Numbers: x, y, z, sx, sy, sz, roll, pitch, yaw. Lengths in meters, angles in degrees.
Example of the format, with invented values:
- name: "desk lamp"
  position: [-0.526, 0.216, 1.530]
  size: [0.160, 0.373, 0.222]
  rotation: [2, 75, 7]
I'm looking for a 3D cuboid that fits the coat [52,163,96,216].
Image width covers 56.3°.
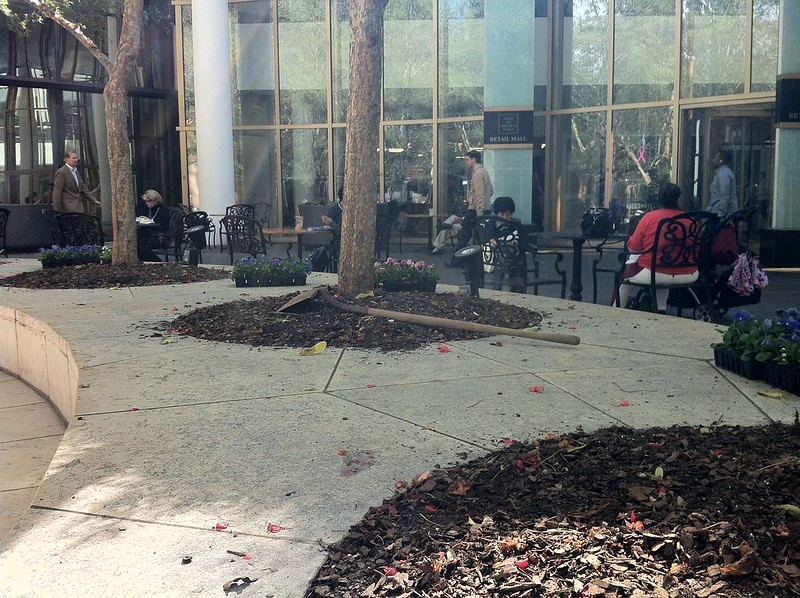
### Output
- name: "coat"
  position: [-5.782, -1.661, 13.385]
  size: [0.365, 1.499, 0.684]
  rotation: [-2, 2, 44]

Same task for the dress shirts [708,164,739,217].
- name: "dress shirts"
  position: [5.155, -1.758, 11.938]
  size: [0.401, 0.786, 0.813]
  rotation: [2, 13, 22]

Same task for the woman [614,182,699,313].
- name: "woman"
  position: [2.540, -0.503, 7.425]
  size: [0.644, 1.552, 0.882]
  rotation: [-5, 23, -9]

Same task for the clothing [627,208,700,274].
- name: "clothing"
  position: [2.471, -0.538, 7.040]
  size: [0.626, 0.609, 0.383]
  rotation: [3, 12, 20]

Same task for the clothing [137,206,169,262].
- name: "clothing"
  position: [-4.373, -1.202, 13.360]
  size: [0.581, 0.918, 1.575]
  rotation: [-5, 12, -17]

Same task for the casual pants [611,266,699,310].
- name: "casual pants"
  position: [2.438, -0.165, 7.278]
  size: [0.449, 0.312, 0.468]
  rotation: [-5, 10, -16]

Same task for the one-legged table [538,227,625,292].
- name: "one-legged table"
  position: [2.221, -0.353, 9.449]
  size: [1.037, 0.869, 1.127]
  rotation: [5, 0, 11]
